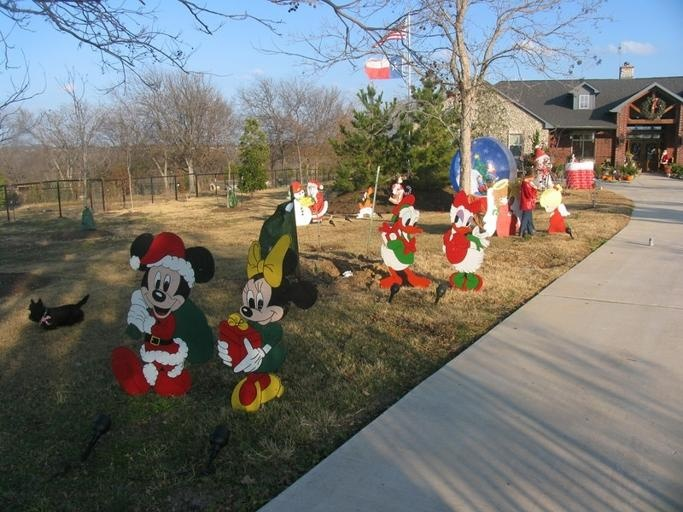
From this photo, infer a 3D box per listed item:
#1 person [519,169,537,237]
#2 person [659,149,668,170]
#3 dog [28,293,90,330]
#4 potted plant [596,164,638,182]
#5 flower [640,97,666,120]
[{"bbox_3d":[4.581,-1.320,12.005,0.365,1.666,0.826,2,14,19],"label":"person"},{"bbox_3d":[22.444,-6.634,33.696,0.624,1.475,3.300,6,17,33],"label":"person"},{"bbox_3d":[-4.142,0.796,7.146,0.328,0.494,0.801,-7,-1,40],"label":"dog"},{"bbox_3d":[17.401,-5.253,30.913,1.503,0.858,3.003,-5,15,-4],"label":"potted plant"},{"bbox_3d":[21.292,-10.159,33.335,1.470,1.591,0.618,0,13,12],"label":"flower"}]
